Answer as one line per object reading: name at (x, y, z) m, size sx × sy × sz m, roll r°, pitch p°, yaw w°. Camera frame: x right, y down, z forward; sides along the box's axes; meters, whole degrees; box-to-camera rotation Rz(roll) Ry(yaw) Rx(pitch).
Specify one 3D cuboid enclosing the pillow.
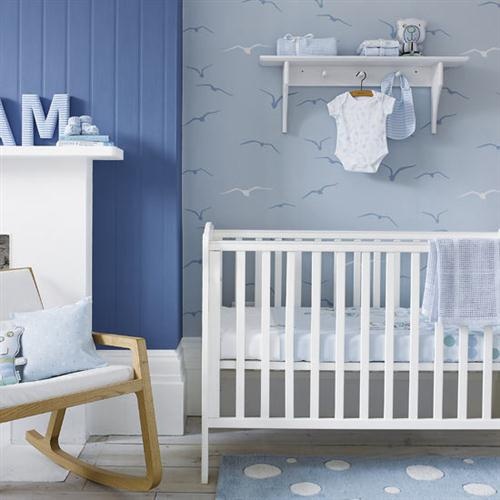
pillow at (-0.735, 0.357, 3.119) m, size 0.344 × 0.290 × 0.116 m, roll -7°, pitch -16°, yaw -8°
